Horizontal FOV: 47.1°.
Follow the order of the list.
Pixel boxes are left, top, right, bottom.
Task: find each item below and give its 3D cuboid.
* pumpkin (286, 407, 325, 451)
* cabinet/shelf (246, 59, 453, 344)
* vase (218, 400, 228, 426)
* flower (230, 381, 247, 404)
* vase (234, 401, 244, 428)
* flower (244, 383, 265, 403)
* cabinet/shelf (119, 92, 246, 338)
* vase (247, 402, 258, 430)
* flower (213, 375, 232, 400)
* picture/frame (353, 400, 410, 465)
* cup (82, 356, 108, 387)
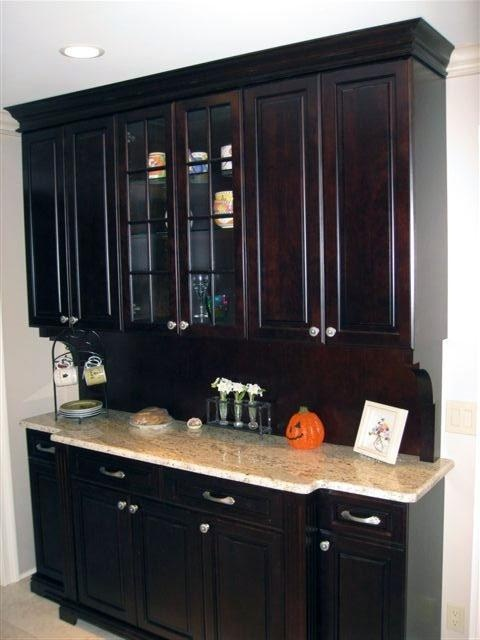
[{"bbox_3d":[0.250,0.431,2.177,0.137,0.171,0.138,7,-11,-42],"label":"pumpkin"},{"bbox_3d":[0.332,-0.401,1.968,0.582,0.967,0.295,1,7,24],"label":"cabinet/shelf"},{"bbox_3d":[-0.077,0.396,2.403,0.040,0.118,0.134,-2,7,-3],"label":"vase"},{"bbox_3d":[-0.002,0.306,2.312,0.061,0.082,0.079,-1,7,1],"label":"flower"},{"bbox_3d":[-0.009,0.397,2.324,0.036,0.118,0.099,-1,7,-1],"label":"vase"},{"bbox_3d":[0.054,0.310,2.303,0.074,0.085,0.083,3,-20,2],"label":"flower"},{"bbox_3d":[-0.217,-0.403,2.278,0.529,0.932,0.219,0,6,20],"label":"cabinet/shelf"},{"bbox_3d":[0.051,0.393,2.297,0.040,0.118,0.067,-1,6,1],"label":"vase"},{"bbox_3d":[-0.073,0.291,2.383,0.084,0.109,0.088,7,14,37],"label":"flower"},{"bbox_3d":[0.515,0.407,1.967,0.021,0.234,0.177,18,-9,-37],"label":"picture/frame"},{"bbox_3d":[-0.729,0.208,2.715,0.098,0.203,0.079,-9,15,-17],"label":"cup"}]
